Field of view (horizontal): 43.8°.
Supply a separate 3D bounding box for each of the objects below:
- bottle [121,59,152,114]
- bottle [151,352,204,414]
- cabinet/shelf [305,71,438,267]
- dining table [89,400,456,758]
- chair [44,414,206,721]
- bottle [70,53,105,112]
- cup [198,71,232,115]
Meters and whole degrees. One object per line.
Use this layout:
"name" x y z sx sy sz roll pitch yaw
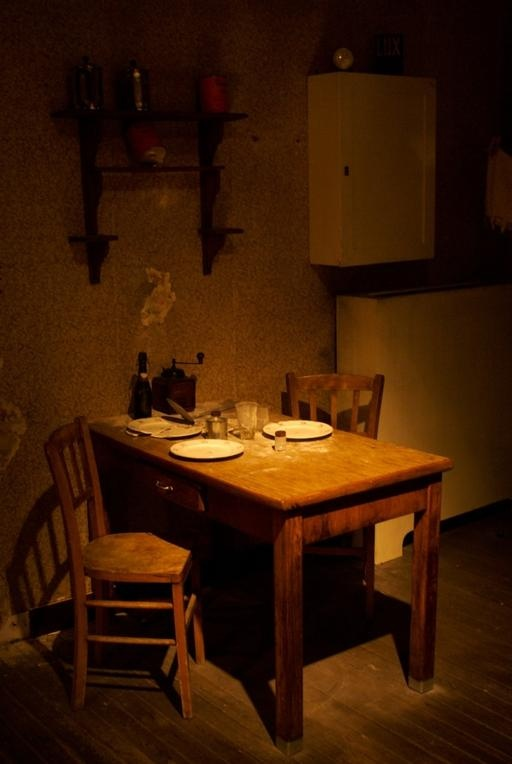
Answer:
"bottle" -0.403 -0.980 2.129 0.088 0.156 0.048 -2 3 -15
"bottle" -0.303 -0.008 2.451 0.142 0.278 0.240 5 7 42
"cabinet/shelf" 0.527 -0.941 2.887 0.508 0.788 0.236 -9 15 -28
"dining table" 0.012 0.460 1.968 0.538 0.613 1.097 -6 9 -27
"chair" -0.355 0.476 1.771 0.374 0.724 0.369 0 5 9
"bottle" -0.536 -0.943 2.026 0.119 0.213 0.184 -1 17 -10
"cup" -0.157 -1.041 2.346 0.132 0.169 0.135 -1 15 0
